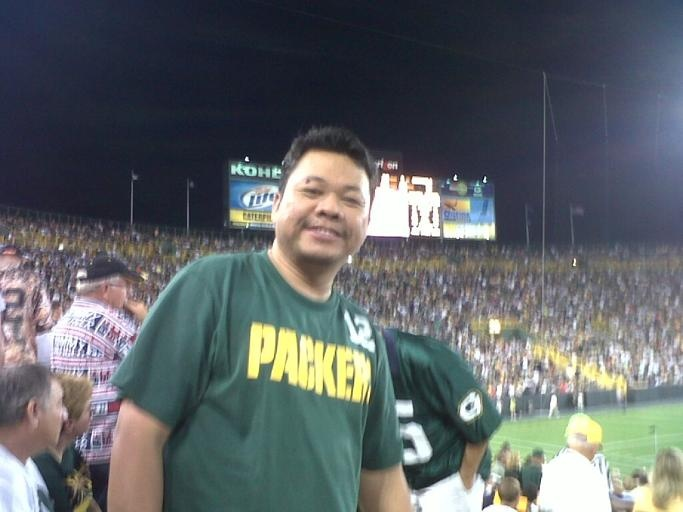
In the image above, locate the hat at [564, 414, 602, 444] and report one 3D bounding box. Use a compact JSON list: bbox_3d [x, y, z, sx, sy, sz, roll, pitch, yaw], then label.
[{"bbox_3d":[1.623,1.147,4.681,0.162,0.148,0.254,10,-6,19],"label":"hat"}]
